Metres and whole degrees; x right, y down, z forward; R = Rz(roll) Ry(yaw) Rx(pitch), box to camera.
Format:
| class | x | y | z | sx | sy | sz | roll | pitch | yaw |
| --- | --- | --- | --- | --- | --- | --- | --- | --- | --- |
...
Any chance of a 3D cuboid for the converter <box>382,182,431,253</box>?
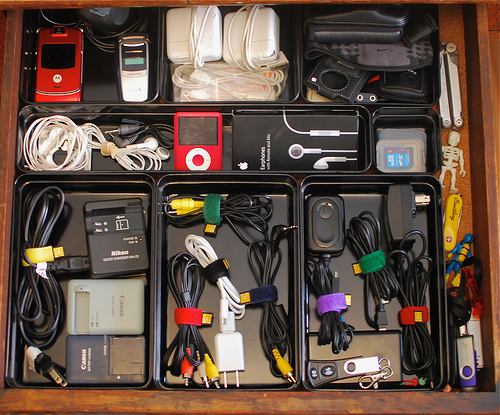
| class | x | y | z | sx | sy | sz | roll | pitch | yaw |
| --- | --- | --- | --- | --- | --- | --- | --- | --- | --- |
| converter | 0.609 | 0.036 | 2.163 | 0.151 | 0.311 | 0.070 | -2 | -48 | 19 |

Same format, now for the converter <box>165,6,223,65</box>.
| class | x | y | z | sx | sy | sz | roll | pitch | yaw |
| --- | --- | --- | --- | --- | --- | --- | --- | --- | --- |
| converter | -0.226 | -0.684 | 2.163 | 0.218 | 0.246 | 0.064 | 0 | -3 | 2 |

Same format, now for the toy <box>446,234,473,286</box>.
| class | x | y | z | sx | sy | sz | roll | pitch | yaw |
| --- | --- | --- | --- | --- | --- | --- | --- | --- | --- |
| toy | 0.812 | 0.207 | 2.149 | 0.120 | 0.199 | 0.048 | -2 | -6 | -6 |

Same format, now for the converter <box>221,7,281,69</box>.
| class | x | y | z | sx | sy | sz | roll | pitch | yaw |
| --- | --- | --- | --- | --- | --- | --- | --- | --- | --- |
| converter | 0.006 | -0.681 | 2.242 | 0.234 | 0.261 | 0.128 | -3 | -6 | 3 |

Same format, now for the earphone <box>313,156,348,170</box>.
| class | x | y | z | sx | sy | sz | roll | pitch | yaw |
| --- | --- | --- | --- | --- | --- | --- | --- | --- | --- |
| earphone | 0.310 | -0.173 | 2.213 | 0.159 | 0.067 | 0.051 | 1 | 1 | -1 |

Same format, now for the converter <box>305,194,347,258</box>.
| class | x | y | z | sx | sy | sz | roll | pitch | yaw |
| --- | --- | --- | --- | --- | --- | --- | --- | --- | --- |
| converter | 0.291 | 0.072 | 2.127 | 0.145 | 0.229 | 0.074 | 0 | -6 | -20 |
